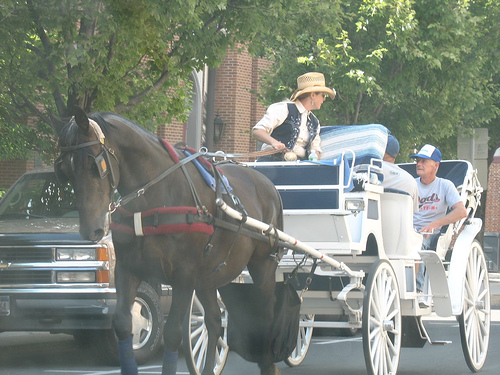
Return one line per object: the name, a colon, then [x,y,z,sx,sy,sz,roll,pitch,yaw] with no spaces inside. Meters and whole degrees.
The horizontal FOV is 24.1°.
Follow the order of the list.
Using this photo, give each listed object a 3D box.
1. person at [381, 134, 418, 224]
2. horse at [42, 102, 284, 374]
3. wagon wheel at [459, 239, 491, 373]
person: [2.383,-0.141,18.383,0.565,1.415,1.792,1,2,8]
horse: [-1.026,0.669,14.800,1.057,3.309,3.073,2,2,43]
wagon wheel: [3.470,1.789,17.993,0.390,1.953,1.163,1,2,15]
